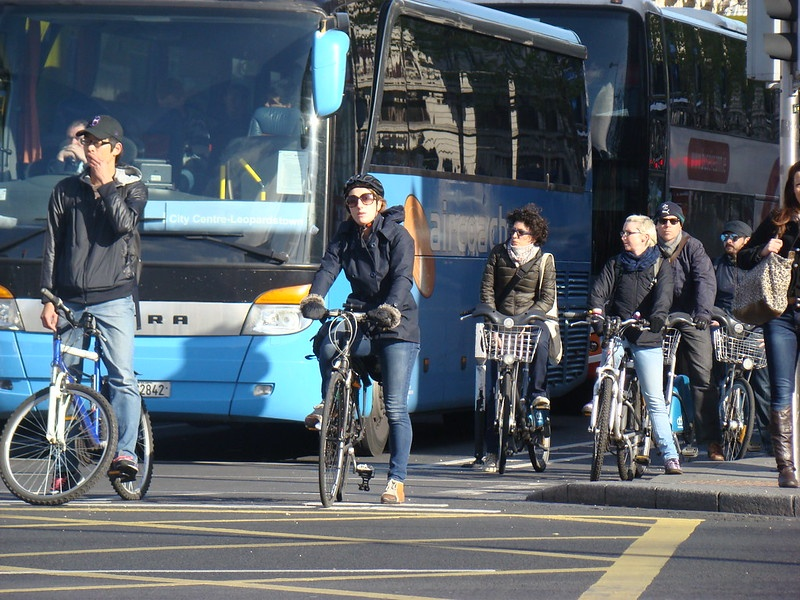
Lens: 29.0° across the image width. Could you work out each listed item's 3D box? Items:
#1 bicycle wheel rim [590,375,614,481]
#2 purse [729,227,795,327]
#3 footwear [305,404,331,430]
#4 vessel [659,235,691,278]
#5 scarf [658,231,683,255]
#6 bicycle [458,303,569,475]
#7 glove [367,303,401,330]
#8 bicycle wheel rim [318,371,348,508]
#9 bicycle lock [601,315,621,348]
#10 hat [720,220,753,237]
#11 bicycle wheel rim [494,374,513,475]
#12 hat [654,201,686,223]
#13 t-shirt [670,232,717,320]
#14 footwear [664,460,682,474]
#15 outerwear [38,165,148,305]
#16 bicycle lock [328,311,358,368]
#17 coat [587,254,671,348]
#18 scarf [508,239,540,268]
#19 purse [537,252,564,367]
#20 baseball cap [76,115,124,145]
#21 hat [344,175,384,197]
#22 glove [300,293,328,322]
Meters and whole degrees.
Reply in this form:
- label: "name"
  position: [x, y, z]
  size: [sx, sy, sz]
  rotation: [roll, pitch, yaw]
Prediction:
- label: "bicycle wheel rim"
  position: [1.703, 1.074, 13.011]
  size: [0.160, 0.718, 0.384]
  rotation: [2, 1, 8]
- label: "purse"
  position: [2.846, -0.107, 12.128]
  size: [0.432, 0.507, 0.314]
  rotation: [3, 1, 10]
- label: "footwear"
  position: [-0.623, 0.886, 11.660]
  size: [0.092, 0.199, 0.278]
  rotation: [8, -24, 7]
- label: "vessel"
  position: [2.504, -0.409, 13.997]
  size: [0.243, 0.348, 0.086]
  rotation: [-28, 40, -33]
- label: "scarf"
  position: [2.470, -0.519, 14.035]
  size: [0.186, 0.269, 0.154]
  rotation: [-1, 19, -1]
- label: "bicycle"
  position: [0.986, 0.812, 14.172]
  size: [0.812, 1.215, 0.518]
  rotation: [2, 1, 6]
- label: "glove"
  position: [-0.111, 0.118, 11.602]
  size: [0.210, 0.171, 0.102]
  rotation: [8, 23, 17]
- label: "bicycle wheel rim"
  position: [-0.515, 1.060, 11.813]
  size: [0.186, 0.759, 0.650]
  rotation: [2, 1, 13]
- label: "bicycle lock"
  position: [1.778, 0.249, 13.072]
  size: [0.152, 0.162, 0.252]
  rotation: [0, -7, 22]
- label: "hat"
  position: [3.386, -0.734, 15.438]
  size: [0.221, 0.165, 0.306]
  rotation: [5, 9, 24]
- label: "bicycle wheel rim"
  position: [0.955, 1.112, 14.086]
  size: [0.149, 0.734, 0.250]
  rotation: [2, 1, 4]
- label: "hat"
  position: [2.479, -0.827, 14.172]
  size: [0.183, 0.189, 0.291]
  rotation: [4, -5, 14]
- label: "t-shirt"
  position: [2.620, -0.196, 13.868]
  size: [0.257, 0.753, 0.535]
  rotation: [-13, 20, -39]
- label: "footwear"
  position: [2.288, 1.385, 12.931]
  size: [0.149, 0.112, 0.241]
  rotation: [3, 1, 9]
- label: "outerwear"
  position: [-2.363, -0.478, 11.942]
  size: [0.734, 1.003, 0.563]
  rotation: [2, -3, 3]
- label: "bicycle lock"
  position: [-0.445, 0.217, 11.959]
  size: [0.217, 0.292, 0.666]
  rotation: [-6, 21, -6]
- label: "coat"
  position: [1.997, 0.005, 13.270]
  size: [0.761, 0.925, 0.520]
  rotation: [6, 0, 22]
- label: "scarf"
  position: [1.153, -0.452, 14.472]
  size: [0.178, 0.236, 0.133]
  rotation: [0, 20, 7]
- label: "purse"
  position: [1.411, 0.082, 14.422]
  size: [0.176, 0.813, 0.085]
  rotation: [-5, -1, 39]
- label: "baseball cap"
  position: [-2.209, -1.291, 11.644]
  size: [0.198, 0.158, 0.286]
  rotation: [1, -11, 42]
- label: "hat"
  position: [-0.280, -0.900, 11.942]
  size: [0.285, 0.130, 0.269]
  rotation: [3, 1, 21]
- label: "glove"
  position: [-0.640, 0.041, 11.756]
  size: [0.205, 0.137, 0.135]
  rotation: [2, 1, 0]
